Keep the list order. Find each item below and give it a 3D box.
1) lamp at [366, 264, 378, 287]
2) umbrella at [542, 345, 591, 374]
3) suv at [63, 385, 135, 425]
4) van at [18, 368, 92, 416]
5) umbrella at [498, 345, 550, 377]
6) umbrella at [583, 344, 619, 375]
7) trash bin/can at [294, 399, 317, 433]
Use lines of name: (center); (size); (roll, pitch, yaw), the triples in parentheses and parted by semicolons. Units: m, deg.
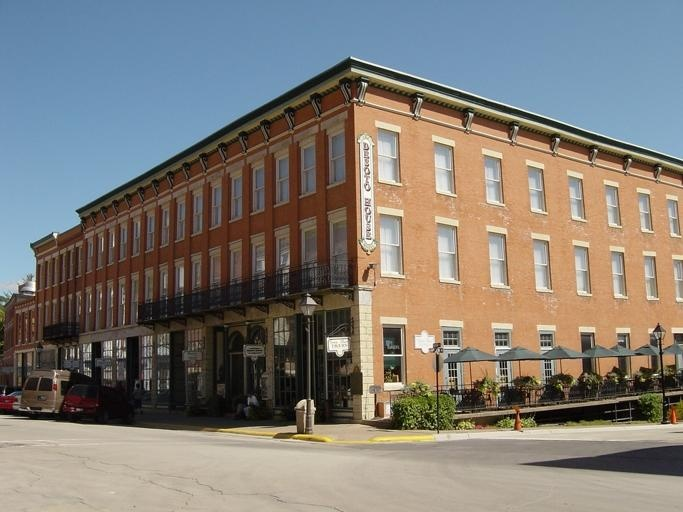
lamp: (1.259, 0.774, 28.316); (0.331, 0.917, 0.642); (-14, -22, 38)
umbrella: (9.750, 4.513, 31.207); (1.447, 1.028, 1.455); (-6, -8, 32)
suv: (-10.717, 6.645, 31.607); (1.743, 1.318, 2.883); (-4, -7, 27)
van: (-13.262, 6.335, 33.107); (2.174, 1.700, 3.129); (-3, -4, 34)
umbrella: (7.580, 4.526, 29.827); (1.355, 0.976, 1.372); (-1, -4, -3)
umbrella: (12.032, 4.903, 32.643); (1.468, 1.076, 1.499); (-1, -3, 6)
trash bin/can: (-1.208, 5.536, 24.339); (0.797, 1.047, 0.847); (-8, -15, 28)
